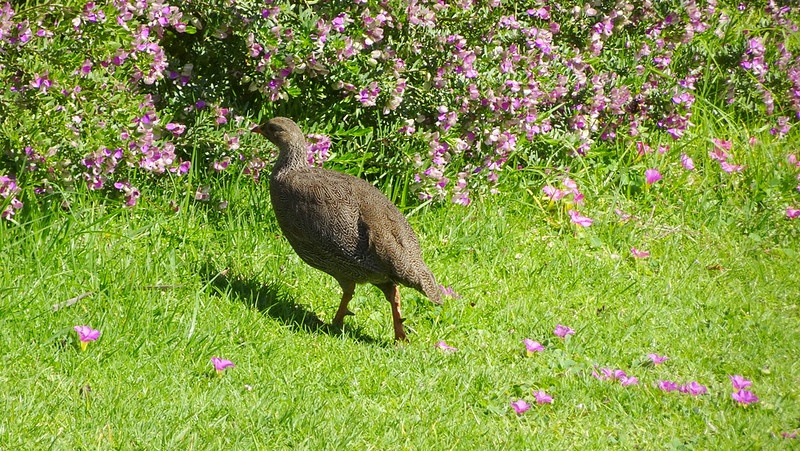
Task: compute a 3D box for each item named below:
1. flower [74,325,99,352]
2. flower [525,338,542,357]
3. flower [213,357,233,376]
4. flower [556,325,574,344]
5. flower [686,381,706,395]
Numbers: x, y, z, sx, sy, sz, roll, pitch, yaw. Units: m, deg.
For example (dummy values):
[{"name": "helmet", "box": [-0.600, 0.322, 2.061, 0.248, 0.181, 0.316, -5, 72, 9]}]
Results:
[{"name": "flower", "box": [-2.293, 0.810, 6.383, 0.173, 0.173, 0.143, -2, 31, -17]}, {"name": "flower", "box": [1.050, 0.963, 6.887, 0.127, 0.068, 0.136, 21, 19, 13]}, {"name": "flower", "box": [-1.308, 1.016, 6.409, 0.123, 0.081, 0.162, 17, 19, 37]}, {"name": "flower", "box": [1.349, 0.890, 7.090, 0.134, 0.083, 0.134, 8, 2, 2]}, {"name": "flower", "box": [2.270, 1.247, 6.645, 0.114, 0.053, 0.109, 4, 8, -2]}]
